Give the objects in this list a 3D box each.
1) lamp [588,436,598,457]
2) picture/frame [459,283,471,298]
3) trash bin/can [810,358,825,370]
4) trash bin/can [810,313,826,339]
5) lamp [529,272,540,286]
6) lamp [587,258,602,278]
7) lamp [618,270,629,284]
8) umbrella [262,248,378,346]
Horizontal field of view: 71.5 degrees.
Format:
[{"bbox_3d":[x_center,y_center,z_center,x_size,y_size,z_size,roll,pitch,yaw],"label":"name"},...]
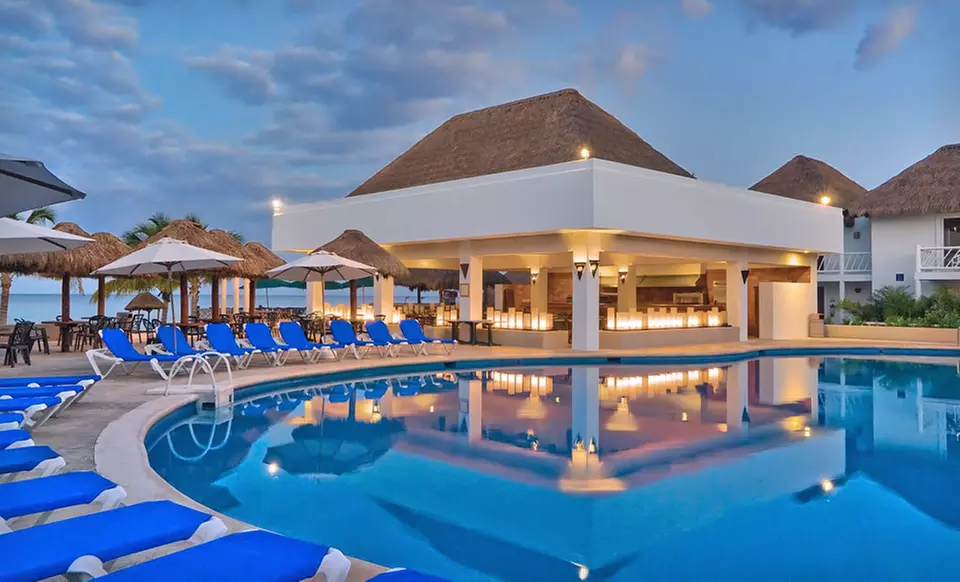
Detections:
[{"bbox_3d":[2.065,2.817,12.070,0.167,0.306,0.170,-3,-4,38],"label":"lamp"},{"bbox_3d":[-0.495,-0.020,22.956,0.514,0.566,0.046,0,-3,24],"label":"picture/frame"},{"bbox_3d":[10.316,2.210,20.390,0.441,0.407,0.336,-1,-7,23],"label":"trash bin/can"},{"bbox_3d":[13.443,1.391,26.574,0.581,0.608,0.307,-1,-1,5],"label":"trash bin/can"},{"bbox_3d":[2.219,-0.502,26.837,0.461,0.439,0.448,-1,0,1],"label":"lamp"},{"bbox_3d":[3.551,-0.693,20.806,0.358,0.551,0.153,0,-2,-44],"label":"lamp"},{"bbox_3d":[5.946,-0.572,27.587,0.522,0.486,0.505,-1,-4,9],"label":"lamp"},{"bbox_3d":[-4.771,-0.334,20.729,2.708,1.786,2.809,16,17,36],"label":"umbrella"}]
